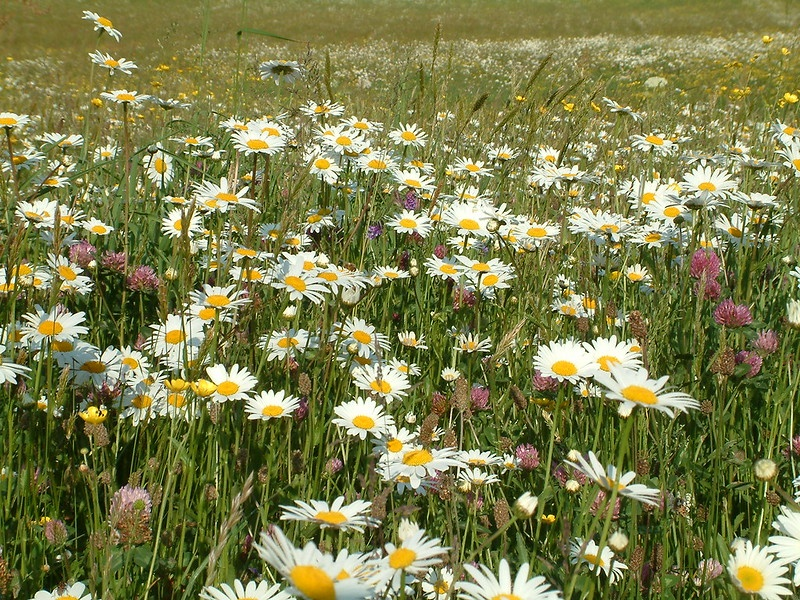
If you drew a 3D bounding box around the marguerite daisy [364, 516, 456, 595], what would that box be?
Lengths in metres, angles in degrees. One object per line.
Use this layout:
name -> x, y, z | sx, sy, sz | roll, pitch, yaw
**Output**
marguerite daisy -> 0.050, 1.053, 3.434 | 0.262, 0.092, 0.313 | -28, 45, 13
